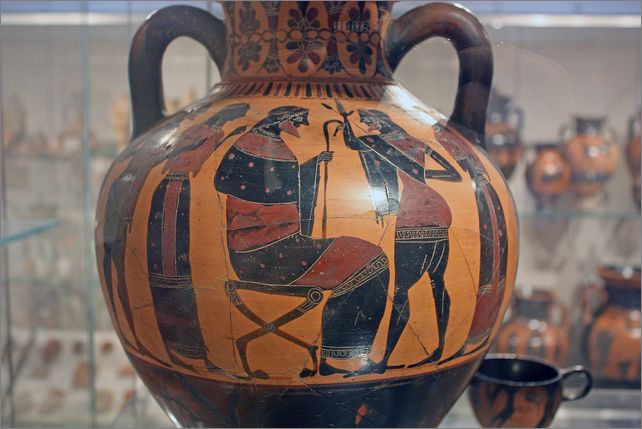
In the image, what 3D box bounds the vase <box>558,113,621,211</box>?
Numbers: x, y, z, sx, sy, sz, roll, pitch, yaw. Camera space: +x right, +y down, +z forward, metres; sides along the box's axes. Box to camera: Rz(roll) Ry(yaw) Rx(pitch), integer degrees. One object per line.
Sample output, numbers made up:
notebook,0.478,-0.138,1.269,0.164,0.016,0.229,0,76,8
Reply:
vase,0.599,-0.122,2.179,0.152,0.236,0.142,-6,25,-4
